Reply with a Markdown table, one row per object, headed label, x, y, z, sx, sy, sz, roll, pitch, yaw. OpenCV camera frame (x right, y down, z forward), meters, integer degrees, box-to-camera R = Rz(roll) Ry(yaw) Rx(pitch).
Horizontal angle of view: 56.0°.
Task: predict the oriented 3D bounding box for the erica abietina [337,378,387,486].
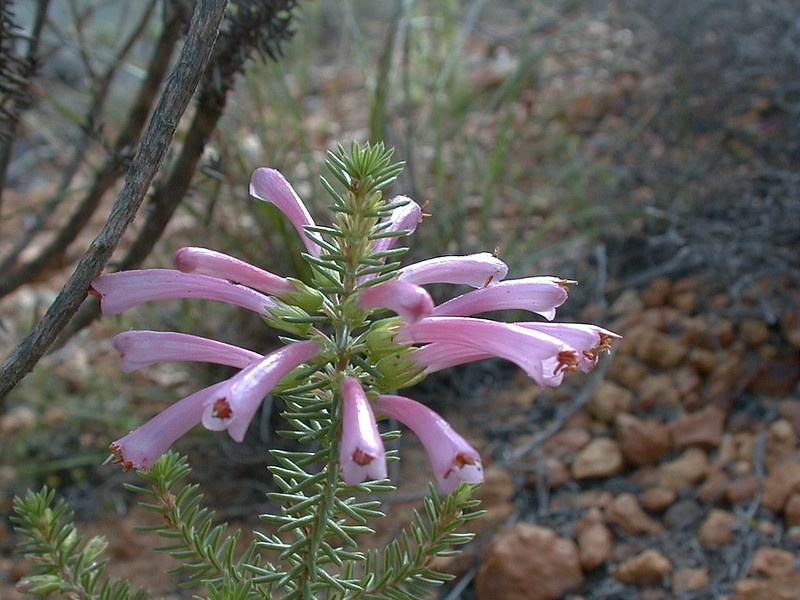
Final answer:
| label | x | y | z | sx | sy | sz | roll | pitch | yaw |
| --- | --- | --- | --- | --- | --- | --- | --- | --- | --- |
| erica abietina | -0.112 | 0.378 | 2.139 | 0.104 | 0.112 | 0.305 | -3 | 48 | -10 |

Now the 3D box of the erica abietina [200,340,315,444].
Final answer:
| label | x | y | z | sx | sy | sz | roll | pitch | yaw |
| --- | --- | --- | --- | --- | --- | --- | --- | --- | --- |
| erica abietina | -0.393 | 0.229 | 2.203 | 0.154 | 0.116 | 0.421 | 21 | 37 | 23 |

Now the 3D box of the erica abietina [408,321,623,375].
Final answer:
| label | x | y | z | sx | sy | sz | roll | pitch | yaw |
| --- | --- | --- | --- | --- | --- | --- | --- | --- | --- |
| erica abietina | 0.385 | 0.147 | 2.390 | 0.341 | 0.100 | 0.210 | 9 | 14 | 15 |

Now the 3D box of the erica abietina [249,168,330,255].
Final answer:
| label | x | y | z | sx | sy | sz | roll | pitch | yaw |
| --- | --- | --- | --- | --- | --- | --- | --- | --- | --- |
| erica abietina | -0.361 | -0.299 | 2.379 | 0.117 | 0.322 | 0.152 | 3 | 48 | 54 |

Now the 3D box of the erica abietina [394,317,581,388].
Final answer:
| label | x | y | z | sx | sy | sz | roll | pitch | yaw |
| --- | --- | --- | --- | --- | --- | --- | --- | --- | --- |
| erica abietina | 0.272 | 0.102 | 2.250 | 0.622 | 0.182 | 0.211 | 11 | 11 | 22 |

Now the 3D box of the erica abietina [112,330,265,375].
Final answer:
| label | x | y | z | sx | sy | sz | roll | pitch | yaw |
| --- | --- | --- | --- | --- | --- | --- | --- | --- | --- |
| erica abietina | -0.650 | 0.172 | 2.387 | 0.473 | 0.092 | 0.171 | 4 | 37 | -21 |
